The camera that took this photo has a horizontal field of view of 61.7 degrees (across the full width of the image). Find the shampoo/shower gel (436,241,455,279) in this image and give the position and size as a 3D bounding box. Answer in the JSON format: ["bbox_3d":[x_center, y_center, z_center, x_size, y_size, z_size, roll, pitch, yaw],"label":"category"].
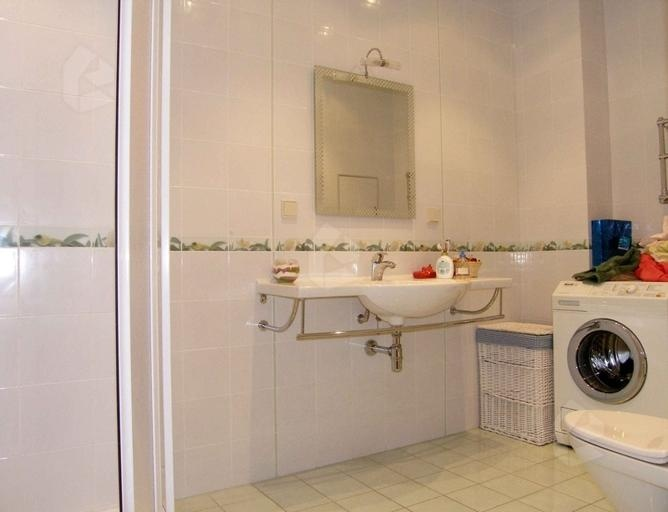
[{"bbox_3d":[0.616,0.005,3.075,0.098,0.182,0.307,2,10,12],"label":"shampoo/shower gel"}]

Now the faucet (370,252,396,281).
[{"bbox_3d":[0.255,0.054,2.871,0.124,0.146,0.346,1,10,6],"label":"faucet"}]

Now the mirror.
[{"bbox_3d":[0.136,-0.591,2.926,0.878,1.001,0.043,0,1,-30],"label":"mirror"}]
